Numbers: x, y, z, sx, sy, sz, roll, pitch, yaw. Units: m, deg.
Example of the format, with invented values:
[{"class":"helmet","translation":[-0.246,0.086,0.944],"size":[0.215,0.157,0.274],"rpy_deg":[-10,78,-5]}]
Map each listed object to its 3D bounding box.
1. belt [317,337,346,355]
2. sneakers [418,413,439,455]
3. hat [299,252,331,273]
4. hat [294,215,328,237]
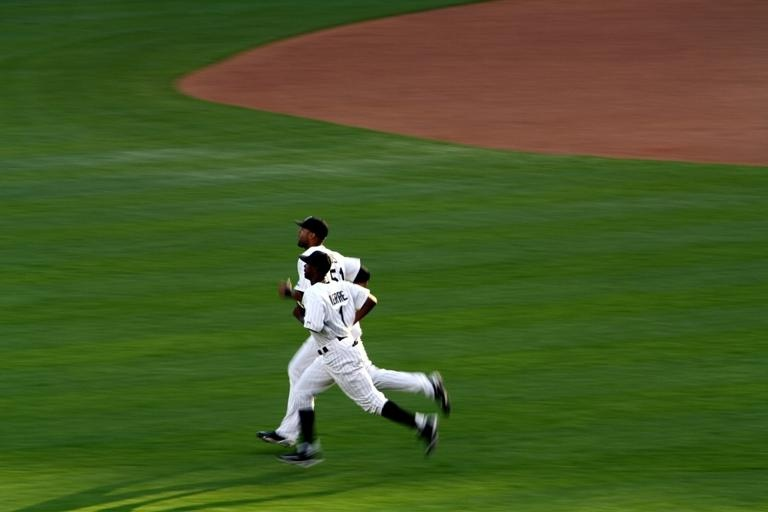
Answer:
[{"class":"belt","translation":[-0.511,0.931,17.420],"size":[0.292,0.066,0.192],"rpy_deg":[-20,4,-28]},{"class":"sneakers","translation":[0.486,1.882,17.579],"size":[0.277,0.432,0.182],"rpy_deg":[-4,24,0]},{"class":"hat","translation":[-0.668,0.046,17.330],"size":[0.333,0.140,0.189],"rpy_deg":[24,23,13]},{"class":"hat","translation":[-0.752,-0.299,17.619],"size":[0.310,0.174,0.247],"rpy_deg":[2,-1,4]}]
